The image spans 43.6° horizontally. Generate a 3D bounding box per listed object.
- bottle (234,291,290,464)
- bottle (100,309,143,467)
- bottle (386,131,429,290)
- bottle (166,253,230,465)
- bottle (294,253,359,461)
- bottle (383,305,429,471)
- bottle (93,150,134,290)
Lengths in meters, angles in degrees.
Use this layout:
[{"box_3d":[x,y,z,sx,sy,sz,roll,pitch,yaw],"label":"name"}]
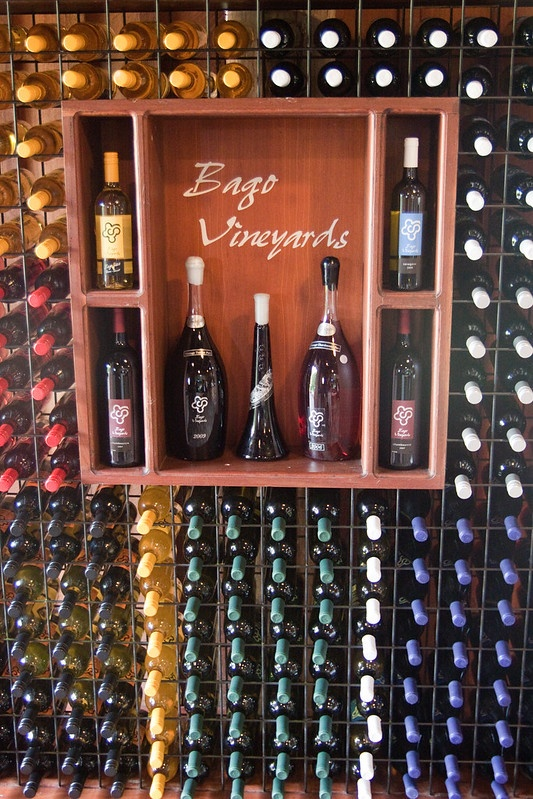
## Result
[{"box_3d":[-0.009,-0.042,1.274,0.092,0.311,0.094,-1,4,0],"label":"bottle"},{"box_3d":[-0.261,-0.018,1.211,0.049,0.285,0.056,2,6,39],"label":"bottle"},{"box_3d":[0.243,-0.317,1.155,0.064,0.259,0.099,0,5,12],"label":"bottle"},{"box_3d":[-0.133,-0.075,1.290,0.116,0.376,0.114,-1,4,0],"label":"bottle"},{"box_3d":[0.116,-0.070,1.241,0.116,0.371,0.082,-1,4,5],"label":"bottle"},{"box_3d":[0.245,-0.017,1.213,0.073,0.284,0.088,0,4,10],"label":"bottle"},{"box_3d":[-0.275,-0.316,1.196,0.068,0.247,0.159,-2,5,-11],"label":"bottle"}]
